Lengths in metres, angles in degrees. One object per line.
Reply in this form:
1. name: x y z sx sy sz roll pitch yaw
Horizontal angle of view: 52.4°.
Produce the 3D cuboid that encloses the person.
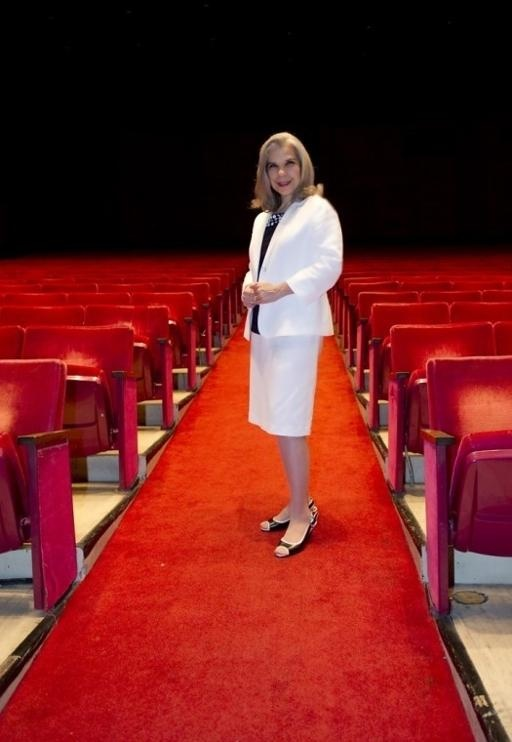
1. person: 0.118 -0.092 1.876 0.338 1.480 0.421 -1 6 -2
